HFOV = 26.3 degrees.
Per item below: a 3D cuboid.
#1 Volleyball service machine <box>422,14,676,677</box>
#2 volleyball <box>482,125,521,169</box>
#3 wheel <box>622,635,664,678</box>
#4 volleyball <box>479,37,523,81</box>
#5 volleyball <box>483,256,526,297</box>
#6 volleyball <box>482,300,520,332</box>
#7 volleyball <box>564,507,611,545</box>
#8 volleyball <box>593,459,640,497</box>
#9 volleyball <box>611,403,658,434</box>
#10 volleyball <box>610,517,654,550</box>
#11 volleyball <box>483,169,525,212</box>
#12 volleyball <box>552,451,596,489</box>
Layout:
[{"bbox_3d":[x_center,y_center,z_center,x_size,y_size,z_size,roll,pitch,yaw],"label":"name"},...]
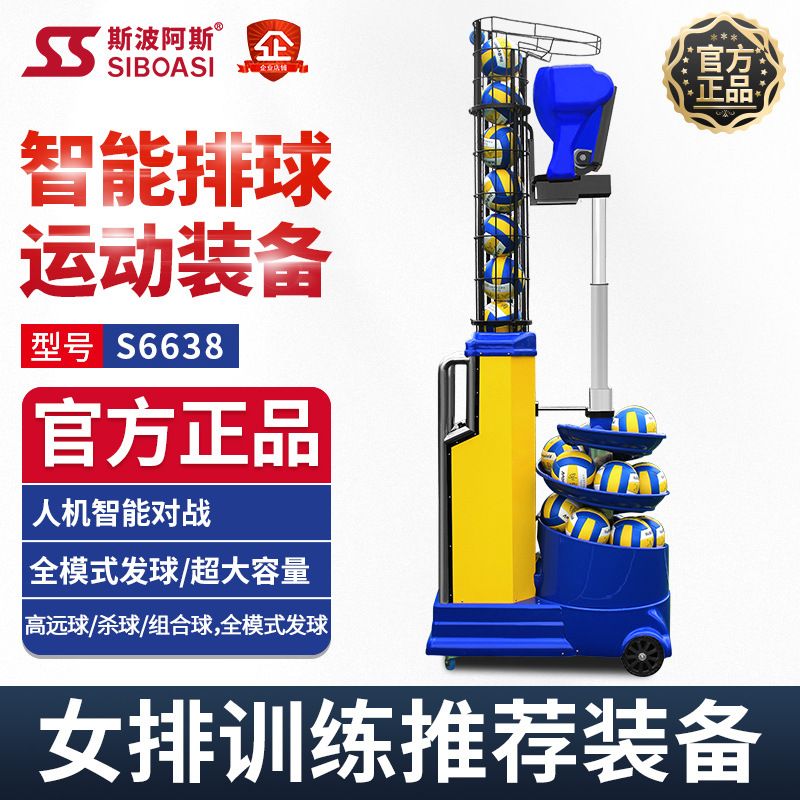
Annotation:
[{"bbox_3d":[0.629,-0.178,6.730,1.084,2.233,0.398,9,-3,0],"label":"Volleyball service machine"},{"bbox_3d":[0.392,-1.014,6.866,0.139,0.173,0.160,2,-1,31],"label":"volleyball"},{"bbox_3d":[0.948,1.005,6.760,0.185,0.132,0.143,7,-3,30],"label":"wheel"},{"bbox_3d":[0.395,-1.357,6.862,0.163,0.156,0.159,8,4,-35],"label":"volleyball"},{"bbox_3d":[0.417,-0.498,6.906,0.147,0.178,0.172,3,1,6],"label":"volleyball"},{"bbox_3d":[0.400,-0.337,6.824,0.103,0.132,0.133,1,18,6],"label":"volleyball"},{"bbox_3d":[0.747,0.483,6.769,0.120,0.133,0.158,13,23,16],"label":"volleyball"},{"bbox_3d":[0.843,0.301,6.677,0.118,0.145,0.121,3,1,10],"label":"volleyball"},{"bbox_3d":[0.931,0.078,6.753,0.153,0.093,0.115,10,-2,-26],"label":"volleyball"},{"bbox_3d":[0.921,0.520,6.739,0.170,0.106,0.107,8,-2,7],"label":"volleyball"},{"bbox_3d":[0.421,-0.828,6.792,0.133,0.169,0.137,0,17,-2],"label":"volleyball"},{"bbox_3d":[0.695,0.279,6.725,0.121,0.123,0.149,1,-1,2],"label":"volleyball"}]
